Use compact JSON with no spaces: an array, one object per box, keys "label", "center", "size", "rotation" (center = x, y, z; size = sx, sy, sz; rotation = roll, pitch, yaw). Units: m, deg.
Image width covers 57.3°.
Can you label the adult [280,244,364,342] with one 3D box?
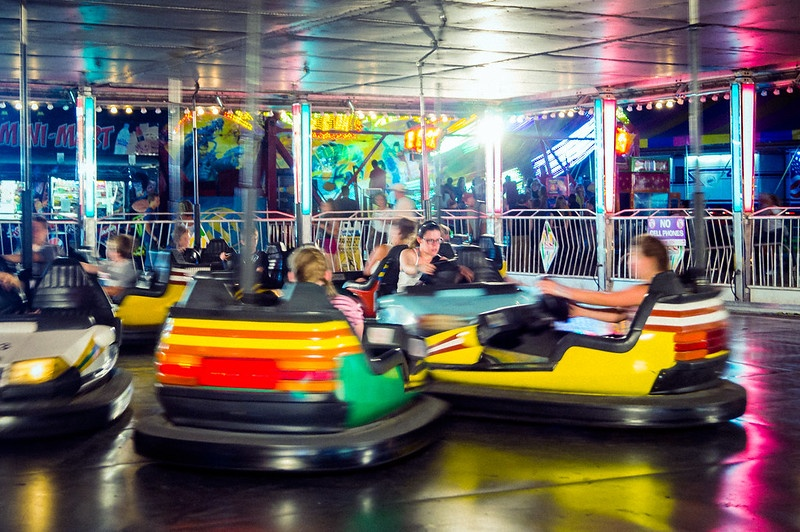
[{"label":"adult","center":[-0.452,0.174,4.881],"size":[0.436,0.600,0.686],"rotation":[2,9,45]}]

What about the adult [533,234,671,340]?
[{"label":"adult","center":[1.590,0.146,5.589],"size":[1.051,0.922,0.721],"rotation":[6,-4,8]}]

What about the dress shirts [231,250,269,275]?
[{"label":"dress shirts","center":[-1.254,-0.025,6.257],"size":[0.152,0.246,0.283],"rotation":[0,3,-43]}]

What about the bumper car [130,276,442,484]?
[{"label":"bumper car","center":[-0.662,0.584,4.195],"size":[1.190,0.607,1.491],"rotation":[1,-1,22]}]

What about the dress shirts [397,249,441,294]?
[{"label":"dress shirts","center":[0.186,0.059,6.766],"size":[0.356,0.573,0.464],"rotation":[1,-4,3]}]

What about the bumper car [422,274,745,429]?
[{"label":"bumper car","center":[1.270,0.514,5.236],"size":[1.767,0.662,1.164],"rotation":[0,-4,23]}]

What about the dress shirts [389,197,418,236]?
[{"label":"dress shirts","center":[0.073,-0.862,11.667],"size":[0.397,0.627,0.520],"rotation":[-4,6,-30]}]

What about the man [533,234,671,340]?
[{"label":"man","center":[1.535,0.140,5.576],"size":[1.051,0.922,0.721],"rotation":[6,-4,8]}]

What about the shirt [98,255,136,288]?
[{"label":"shirt","center":[-2.869,0.067,7.519],"size":[0.351,0.240,0.182],"rotation":[6,-1,2]}]
